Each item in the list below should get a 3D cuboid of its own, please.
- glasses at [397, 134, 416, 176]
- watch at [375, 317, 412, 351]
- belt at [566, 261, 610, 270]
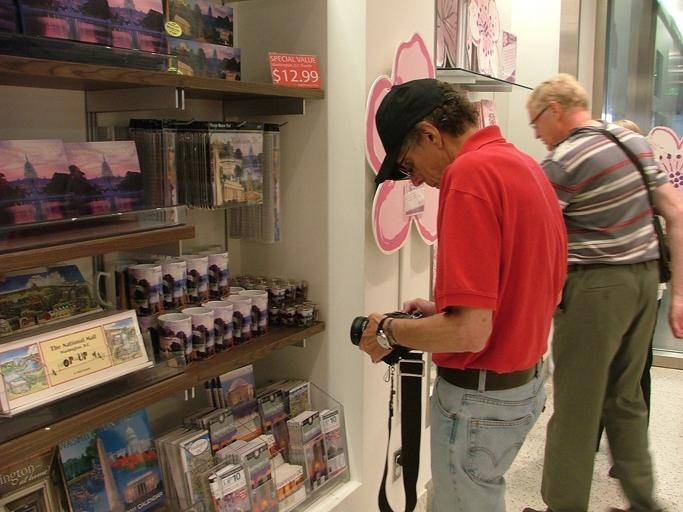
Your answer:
[{"bbox_3d":[0.206,-0.319,1.697,0.024,0.089,0.086,-21,0,-2],"label":"glasses"},{"bbox_3d":[0.187,0.261,1.690,0.074,0.114,0.116,7,0,44],"label":"watch"},{"bbox_3d":[1.214,0.063,2.557,0.196,0.053,0.029,4,14,30],"label":"belt"}]
